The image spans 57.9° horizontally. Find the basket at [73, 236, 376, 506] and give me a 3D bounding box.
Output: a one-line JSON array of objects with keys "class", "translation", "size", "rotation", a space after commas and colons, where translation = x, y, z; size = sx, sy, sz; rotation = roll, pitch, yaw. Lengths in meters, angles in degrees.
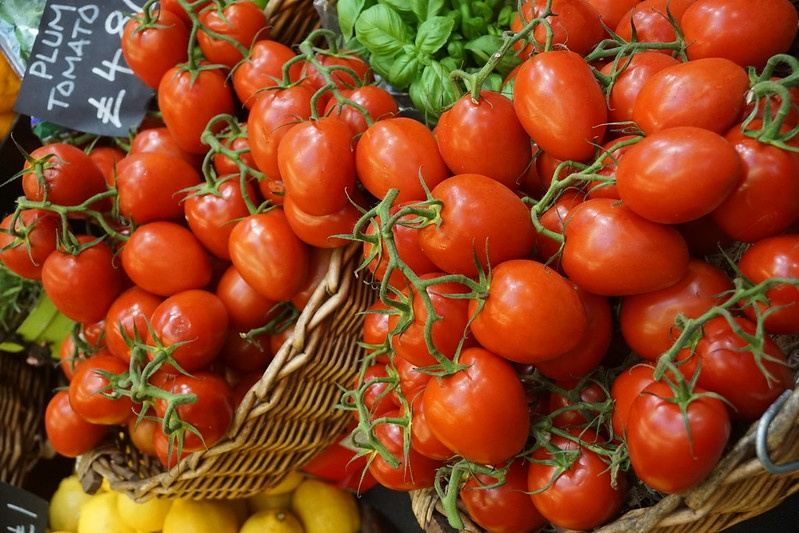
[{"class": "basket", "translation": [-0.369, 0.251, 1.518], "size": [0.654, 0.547, 0.271], "rotation": [-4, 26, -3]}]

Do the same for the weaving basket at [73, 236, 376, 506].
[{"class": "weaving basket", "translation": [-0.369, 0.251, 1.518], "size": [0.654, 0.547, 0.271], "rotation": [-4, 26, -3]}]
